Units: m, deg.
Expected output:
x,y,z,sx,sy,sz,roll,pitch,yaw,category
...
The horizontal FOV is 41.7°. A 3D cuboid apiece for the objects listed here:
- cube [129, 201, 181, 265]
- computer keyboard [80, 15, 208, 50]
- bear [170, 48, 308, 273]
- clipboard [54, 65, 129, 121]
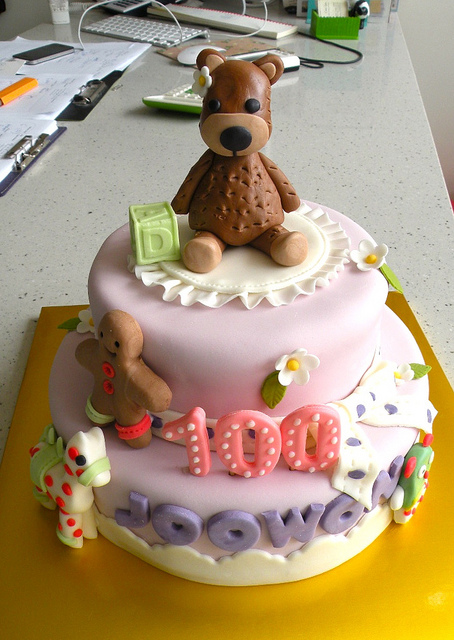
x,y,z,sx,sy,sz,roll,pitch,yaw,category
-0.089,-0.100,0.729,0.071,0.068,0.047,-12,45,-20,cube
-0.307,-1.125,2.302,0.533,0.046,0.258,23,45,26,computer keyboard
0.012,-0.170,0.650,0.186,0.212,0.139,4,38,3,bear
-0.419,-0.693,1.829,0.161,0.058,0.352,8,48,20,clipboard
